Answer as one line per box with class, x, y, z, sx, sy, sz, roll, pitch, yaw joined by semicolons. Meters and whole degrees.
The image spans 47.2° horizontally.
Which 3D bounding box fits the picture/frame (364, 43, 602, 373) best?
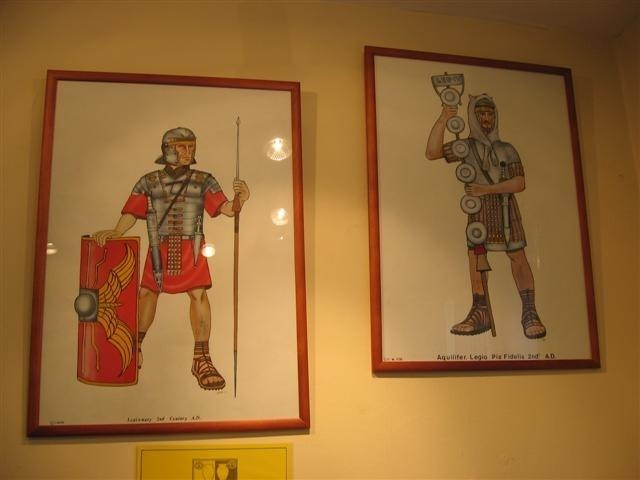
picture/frame;0.582;-0.077;2.755;1.092;1.715;0.063;1;-11;-11
